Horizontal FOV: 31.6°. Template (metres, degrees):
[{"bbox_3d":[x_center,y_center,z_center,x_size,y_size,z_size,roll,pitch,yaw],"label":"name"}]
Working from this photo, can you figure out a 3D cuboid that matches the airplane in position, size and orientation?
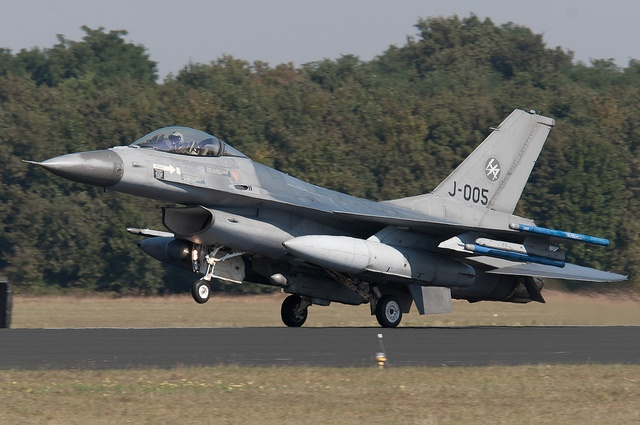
[{"bbox_3d":[0.018,-0.070,43.207,19.665,4.490,11.897,7,-9,-20],"label":"airplane"}]
